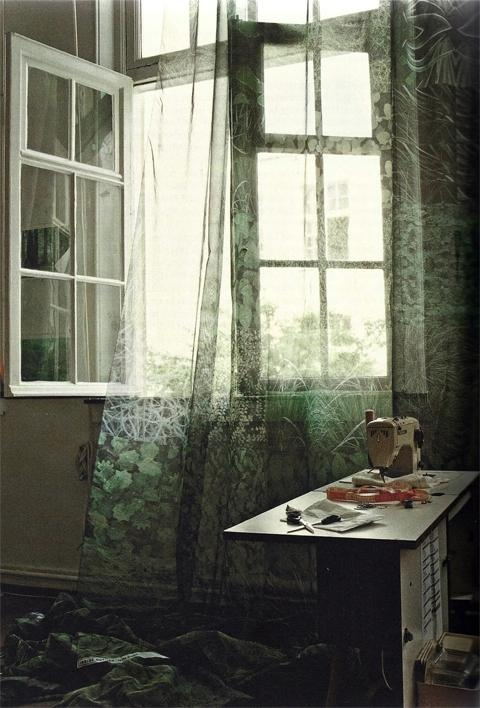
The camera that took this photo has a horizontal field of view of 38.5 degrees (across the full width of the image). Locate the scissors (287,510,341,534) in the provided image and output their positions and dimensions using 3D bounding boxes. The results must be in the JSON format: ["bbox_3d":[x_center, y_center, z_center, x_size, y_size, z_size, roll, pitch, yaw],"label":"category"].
[{"bbox_3d":[0.160,0.370,1.526,0.072,0.024,0.047,17,3,-29],"label":"scissors"}]

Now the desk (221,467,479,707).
[{"bbox_3d":[0.290,0.546,1.693,0.401,0.531,0.663,4,10,26],"label":"desk"}]
